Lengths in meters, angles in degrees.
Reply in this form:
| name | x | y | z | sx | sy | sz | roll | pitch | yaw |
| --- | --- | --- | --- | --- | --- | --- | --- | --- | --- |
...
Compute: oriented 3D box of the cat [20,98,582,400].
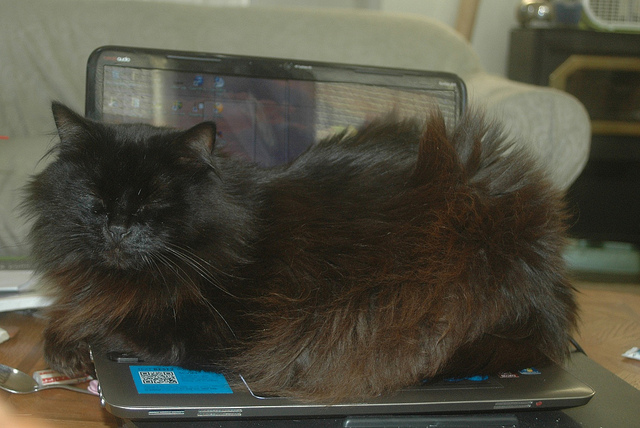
| name | x | y | z | sx | sy | sz | roll | pitch | yaw |
| --- | --- | --- | --- | --- | --- | --- | --- | --- | --- |
| cat | -0.030 | 0.065 | 0.941 | 0.650 | 0.302 | 0.422 | 1 | -1 | -26 |
